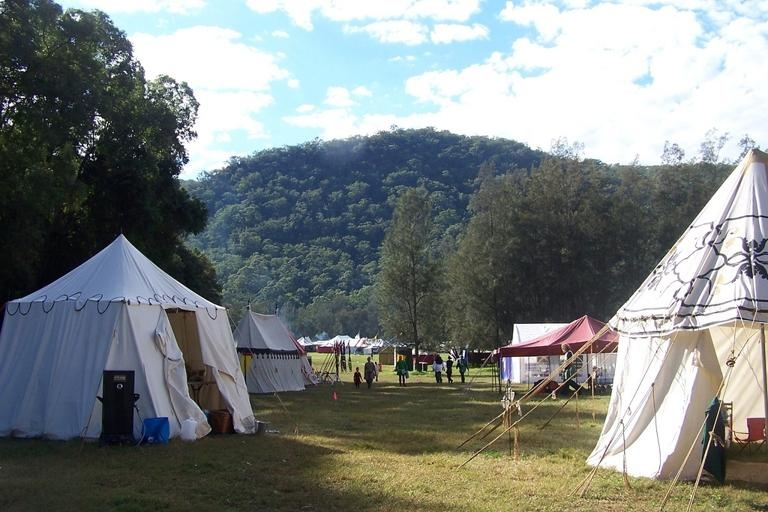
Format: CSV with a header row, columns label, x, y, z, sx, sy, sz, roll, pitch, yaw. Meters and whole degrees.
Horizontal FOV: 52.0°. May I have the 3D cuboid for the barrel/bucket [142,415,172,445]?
label,x,y,z,sx,sy,sz,roll,pitch,yaw
barrel/bucket,-5.908,4.591,20.654,0.864,1.008,0.529,2,-11,-12

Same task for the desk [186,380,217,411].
label,x,y,z,sx,sy,sz,roll,pitch,yaw
desk,-5.408,4.169,23.316,0.745,1.188,0.761,1,-3,-6

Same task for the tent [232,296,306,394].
label,x,y,z,sx,sy,sz,roll,pitch,yaw
tent,-5.232,4.080,34.580,2.468,3.625,4.812,-1,-8,13

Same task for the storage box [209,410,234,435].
label,x,y,z,sx,sy,sz,roll,pitch,yaw
storage box,-4.528,4.649,21.872,0.625,0.515,0.476,-9,-13,41

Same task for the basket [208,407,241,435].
label,x,y,z,sx,sy,sz,roll,pitch,yaw
basket,-4.488,4.652,21.819,0.497,0.508,0.698,-4,-14,17
